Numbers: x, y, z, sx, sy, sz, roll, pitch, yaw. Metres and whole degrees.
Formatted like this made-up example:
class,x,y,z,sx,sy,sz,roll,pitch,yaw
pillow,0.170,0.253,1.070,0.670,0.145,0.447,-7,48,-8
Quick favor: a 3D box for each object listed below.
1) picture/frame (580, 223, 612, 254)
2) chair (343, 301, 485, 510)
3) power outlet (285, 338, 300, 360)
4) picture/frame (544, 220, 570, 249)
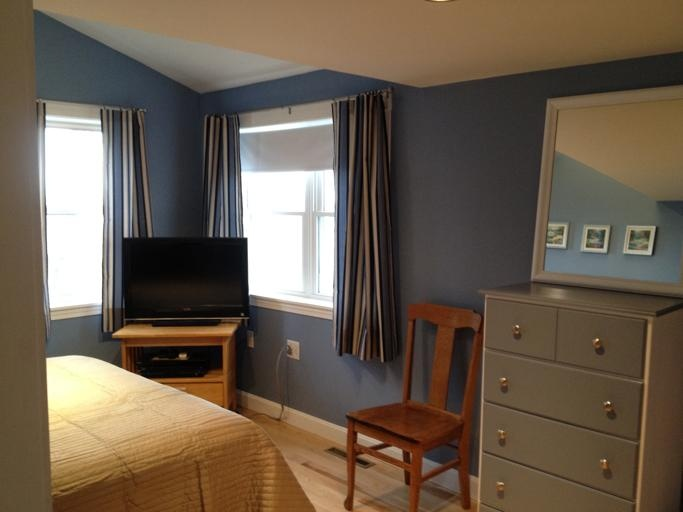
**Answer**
class,x,y,z,sx,sy,sz,roll,pitch,yaw
picture/frame,1.286,-0.087,2.793,0.012,0.160,0.126,-1,8,-43
chair,0.440,0.888,3.193,0.649,1.135,0.764,9,14,35
power outlet,-0.364,0.707,4.202,0.160,0.175,0.017,0,3,45
picture/frame,1.141,-0.111,2.921,0.007,0.121,0.112,3,17,-42
